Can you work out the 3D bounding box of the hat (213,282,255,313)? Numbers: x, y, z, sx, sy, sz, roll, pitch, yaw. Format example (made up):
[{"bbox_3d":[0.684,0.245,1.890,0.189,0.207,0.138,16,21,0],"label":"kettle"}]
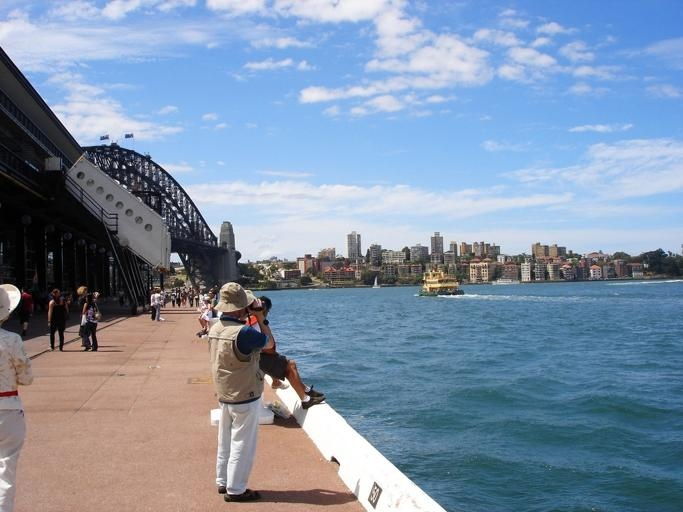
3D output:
[{"bbox_3d":[-1.105,0.436,6.098,0.338,0.155,0.372,0,5,30],"label":"hat"}]

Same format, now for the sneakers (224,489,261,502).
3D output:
[{"bbox_3d":[-1.028,2.456,5.944,0.361,0.116,0.130,-1,-1,-16],"label":"sneakers"}]

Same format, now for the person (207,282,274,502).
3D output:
[{"bbox_3d":[-1.062,1.406,5.963,0.603,2.250,0.452,-3,-5,-5],"label":"person"}]

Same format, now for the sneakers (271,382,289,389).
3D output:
[{"bbox_3d":[-1.035,2.208,9.623,0.365,0.127,0.180,-4,-4,25],"label":"sneakers"}]

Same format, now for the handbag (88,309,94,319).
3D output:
[{"bbox_3d":[-6.456,1.527,14.754,0.161,0.244,0.238,-1,-5,-23],"label":"handbag"}]
